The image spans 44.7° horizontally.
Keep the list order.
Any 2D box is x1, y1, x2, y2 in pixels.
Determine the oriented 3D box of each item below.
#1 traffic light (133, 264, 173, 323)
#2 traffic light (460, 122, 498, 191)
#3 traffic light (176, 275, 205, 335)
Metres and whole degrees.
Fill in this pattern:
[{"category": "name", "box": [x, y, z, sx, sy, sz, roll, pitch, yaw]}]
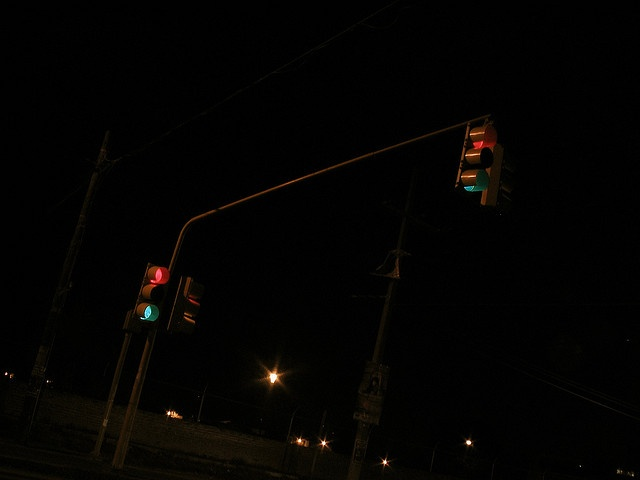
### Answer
[{"category": "traffic light", "box": [-5.170, 1.647, 23.919, 0.792, 1.746, 0.877, 17, -23, -13]}, {"category": "traffic light", "box": [4.183, -2.250, 20.870, 0.926, 2.093, 0.465, 7, -22, 12]}, {"category": "traffic light", "box": [-4.119, 2.018, 23.986, 0.780, 1.661, 0.721, 16, -23, -11]}]
